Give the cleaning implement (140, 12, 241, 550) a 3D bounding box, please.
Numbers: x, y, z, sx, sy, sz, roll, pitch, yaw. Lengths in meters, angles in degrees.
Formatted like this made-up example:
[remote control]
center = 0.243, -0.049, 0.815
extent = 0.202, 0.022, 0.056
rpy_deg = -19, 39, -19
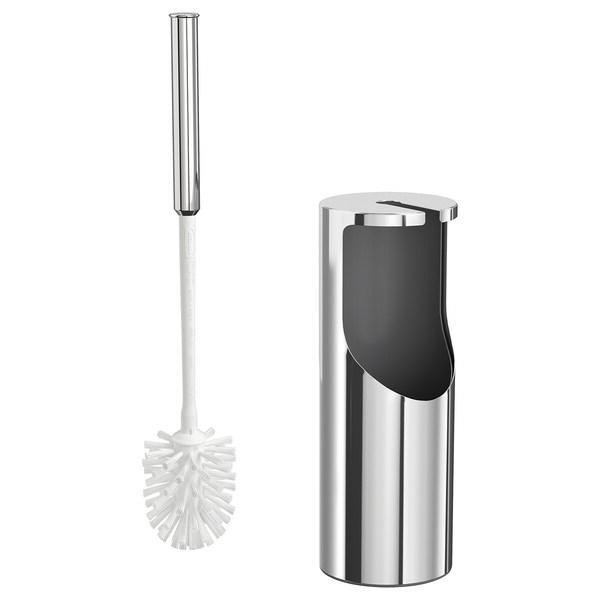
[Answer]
[cleaning implement]
center = -0.316, 0.040, 2.383
extent = 0.442, 1.710, 0.353
rpy_deg = -1, 2, -11
